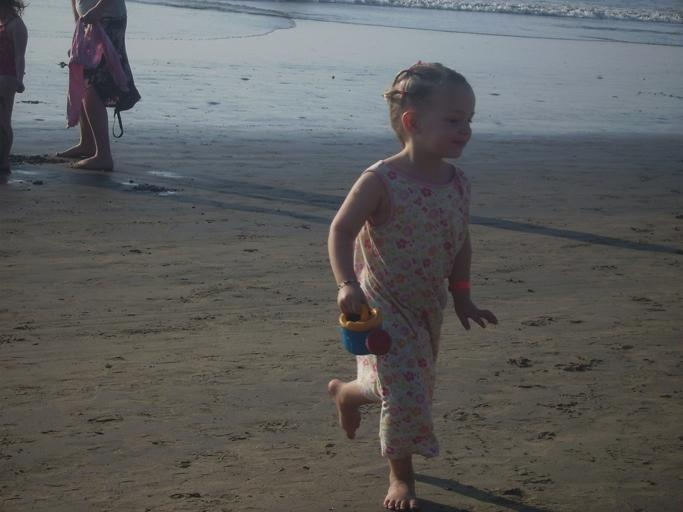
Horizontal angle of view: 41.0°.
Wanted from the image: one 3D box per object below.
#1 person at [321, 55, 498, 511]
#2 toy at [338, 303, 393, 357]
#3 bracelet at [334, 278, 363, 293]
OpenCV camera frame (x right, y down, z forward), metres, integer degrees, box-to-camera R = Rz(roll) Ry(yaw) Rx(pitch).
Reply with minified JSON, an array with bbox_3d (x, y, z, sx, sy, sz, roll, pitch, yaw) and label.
[{"bbox_3d":[0.291,0.019,4.805,0.717,2.047,0.814,7,20,1],"label":"person"},{"bbox_3d":[0.112,0.379,4.619,0.259,0.194,0.321,-8,15,-39],"label":"toy"},{"bbox_3d":[0.041,0.141,4.626,0.108,0.061,0.096,4,15,-1],"label":"bracelet"}]
